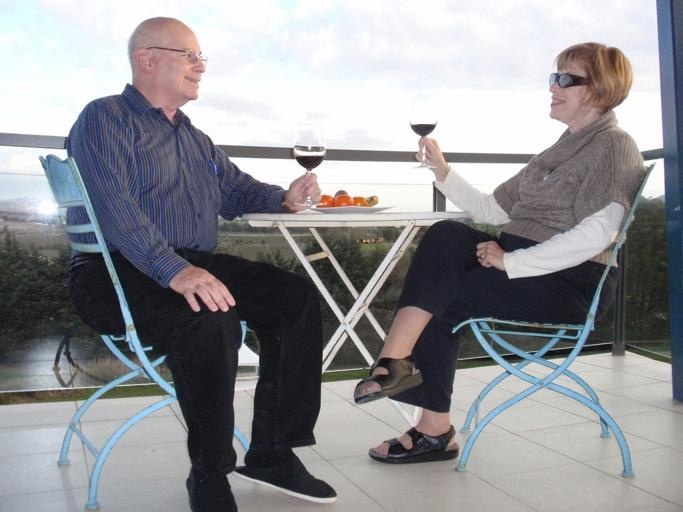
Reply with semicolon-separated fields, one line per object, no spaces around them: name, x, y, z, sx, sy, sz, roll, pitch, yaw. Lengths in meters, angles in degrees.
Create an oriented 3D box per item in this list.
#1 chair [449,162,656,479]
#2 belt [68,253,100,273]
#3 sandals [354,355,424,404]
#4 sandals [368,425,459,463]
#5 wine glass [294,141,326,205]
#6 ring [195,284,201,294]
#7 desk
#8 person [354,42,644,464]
chair;0.935;0.310;2.463;0.799;1.208;0.713;-2;0;10
belt;-0.979;0.027;2.047;0.109;0.044;0.083;-4;0;30
sandals;0.192;0.457;2.055;0.334;0.142;0.122;-4;-13;-41
sandals;0.332;0.840;2.395;0.408;0.167;0.164;-3;-6;-2
wine glass;-0.137;-0.363;2.327;0.139;0.260;0.138;2;11;-8
ring;-0.474;0.107;1.771;0.020;0.023;0.023;1;-14;-8
desk;0.083;0.215;3.056;1.228;1.325;0.915;-3;7;-7
person;0.643;-0.058;2.641;1.115;1.994;0.865;0;1;-10
